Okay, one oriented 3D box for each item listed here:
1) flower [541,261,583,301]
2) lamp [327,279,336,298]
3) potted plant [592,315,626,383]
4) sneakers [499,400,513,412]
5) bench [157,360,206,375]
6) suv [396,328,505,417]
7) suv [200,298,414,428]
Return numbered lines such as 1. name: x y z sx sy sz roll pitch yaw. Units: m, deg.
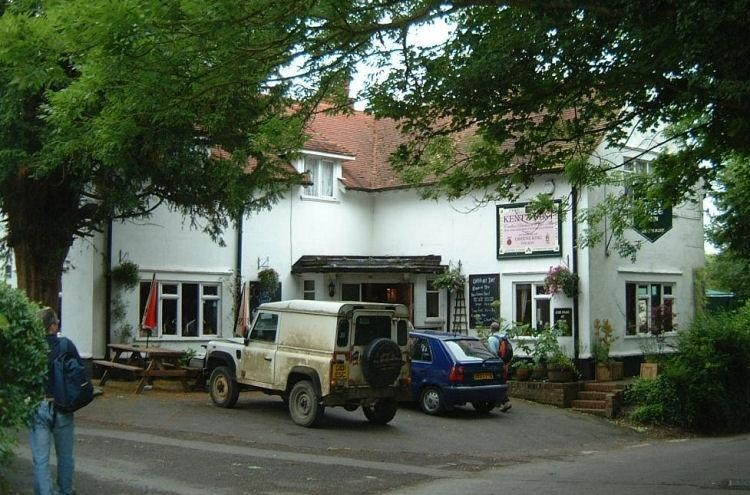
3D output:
1. flower: 6.201 1.201 25.894 1.025 0.895 1.009 -2 0 -25
2. lamp: -1.627 1.558 29.285 0.318 0.630 0.114 6 6 -26
3. potted plant: 7.646 3.377 25.704 0.843 1.579 0.911 4 8 -44
4. sneakers: 3.706 4.573 22.544 0.201 0.241 0.566 -9 -4 -17
5. bench: -5.583 3.574 23.013 1.017 0.244 0.899 4 -6 -41
6. suv: 2.060 3.410 21.880 1.691 1.376 2.912 2 -1 -39
7. suv: -1.584 2.746 20.049 4.733 2.458 2.636 2 -2 41
